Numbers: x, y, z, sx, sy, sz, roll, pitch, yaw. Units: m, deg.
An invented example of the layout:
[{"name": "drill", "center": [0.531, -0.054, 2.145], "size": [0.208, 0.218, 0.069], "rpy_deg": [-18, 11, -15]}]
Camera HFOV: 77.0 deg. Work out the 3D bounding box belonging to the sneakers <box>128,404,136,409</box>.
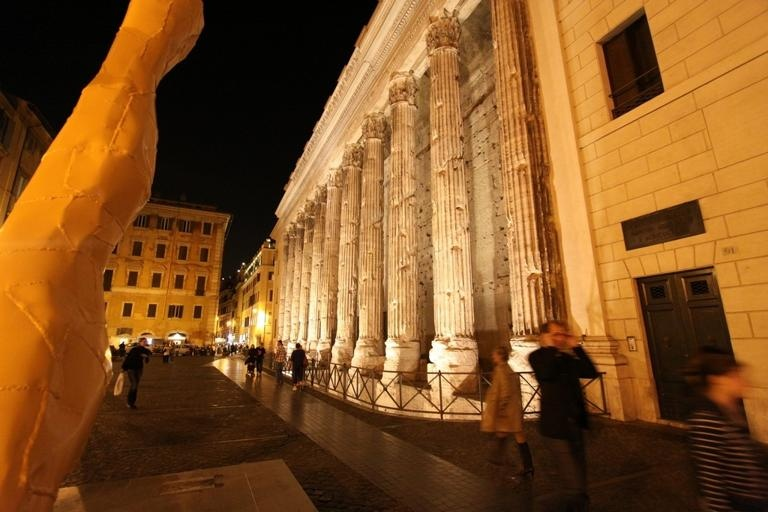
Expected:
[{"name": "sneakers", "center": [-6.267, 3.710, 11.943], "size": [0.216, 0.089, 0.087], "rpy_deg": [2, 0, -14]}]
